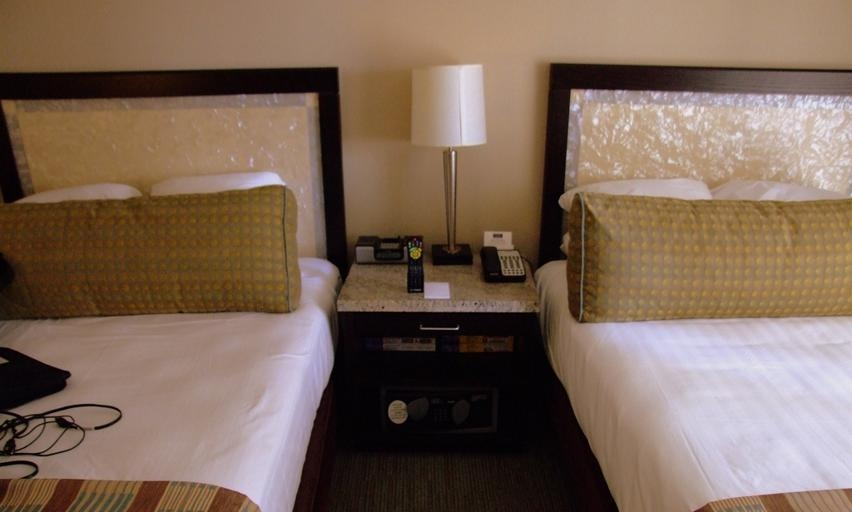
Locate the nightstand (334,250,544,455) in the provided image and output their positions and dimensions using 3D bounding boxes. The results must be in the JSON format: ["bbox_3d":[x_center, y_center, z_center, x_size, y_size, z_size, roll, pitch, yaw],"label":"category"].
[{"bbox_3d":[0.066,0.735,3.335,1.363,1.166,0.768,-1,20,0],"label":"nightstand"}]

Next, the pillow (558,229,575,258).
[{"bbox_3d":[0.738,-0.067,3.142,0.055,0.134,0.132,5,3,1],"label":"pillow"}]

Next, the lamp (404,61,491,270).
[{"bbox_3d":[0.127,-0.471,3.080,0.389,1.010,0.311,-1,20,6],"label":"lamp"}]

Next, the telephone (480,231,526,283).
[{"bbox_3d":[0.398,0.024,3.117,0.183,0.137,0.317,-1,31,2],"label":"telephone"}]

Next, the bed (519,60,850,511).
[{"bbox_3d":[1.304,0.022,3.502,1.949,2.004,1.236,0,1,1],"label":"bed"}]
